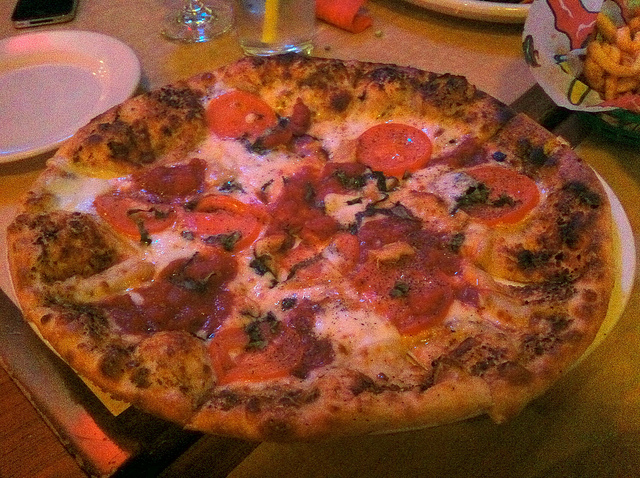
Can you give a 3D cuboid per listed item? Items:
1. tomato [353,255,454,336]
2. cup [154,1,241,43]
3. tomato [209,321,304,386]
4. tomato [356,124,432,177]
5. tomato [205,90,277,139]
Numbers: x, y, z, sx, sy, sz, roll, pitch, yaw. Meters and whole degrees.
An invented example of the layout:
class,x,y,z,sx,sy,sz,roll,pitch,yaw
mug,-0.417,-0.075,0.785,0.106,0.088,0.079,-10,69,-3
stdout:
class,x,y,z,sx,sy,sz,roll,pitch,yaw
tomato,0.266,0.168,1.987,0.206,0.053,0.266,-34,53,-15
cup,-0.596,-1.047,3.192,0.253,0.249,0.247,2,46,-2
tomato,-0.187,0.336,1.939,0.273,0.083,0.173,-10,73,-4
tomato,0.260,-0.325,2.359,0.260,0.077,0.228,0,72,-1
tomato,-0.314,-0.492,2.510,0.268,0.241,0.072,-18,68,1
